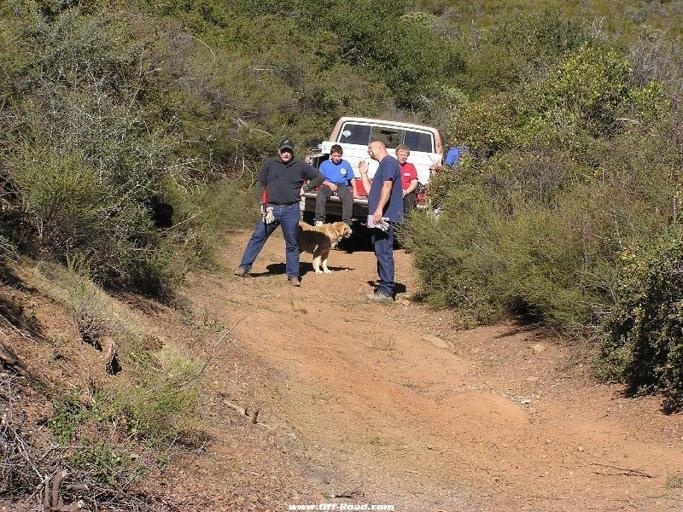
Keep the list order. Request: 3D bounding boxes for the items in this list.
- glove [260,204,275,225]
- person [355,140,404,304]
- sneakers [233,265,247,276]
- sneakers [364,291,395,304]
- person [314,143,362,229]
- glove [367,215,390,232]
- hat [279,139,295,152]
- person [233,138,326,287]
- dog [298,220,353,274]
[{"bbox_3d":[-1.151,-0.662,10.868,0.167,0.271,0.070,-16,-16,22],"label":"glove"},{"bbox_3d":[0.614,-0.512,10.687,0.673,2.477,0.909,1,18,-1],"label":"person"},{"bbox_3d":[-1.611,0.234,11.066,0.102,0.145,0.292,28,-11,8],"label":"sneakers"},{"bbox_3d":[0.588,0.648,10.771,0.334,0.173,0.194,15,-1,-4],"label":"sneakers"},{"bbox_3d":[-0.104,-1.334,12.903,0.696,1.670,0.928,2,-3,-6],"label":"person"},{"bbox_3d":[0.552,-0.494,10.379,0.293,0.271,0.309,7,20,16],"label":"glove"},{"bbox_3d":[-0.867,-1.738,10.897,0.220,0.203,0.310,-1,20,-8],"label":"hat"},{"bbox_3d":[-0.973,-0.725,11.058,1.254,2.222,0.647,-1,18,-6],"label":"person"},{"bbox_3d":[-0.536,-0.192,12.325,1.363,0.934,0.437,5,5,16],"label":"dog"}]
